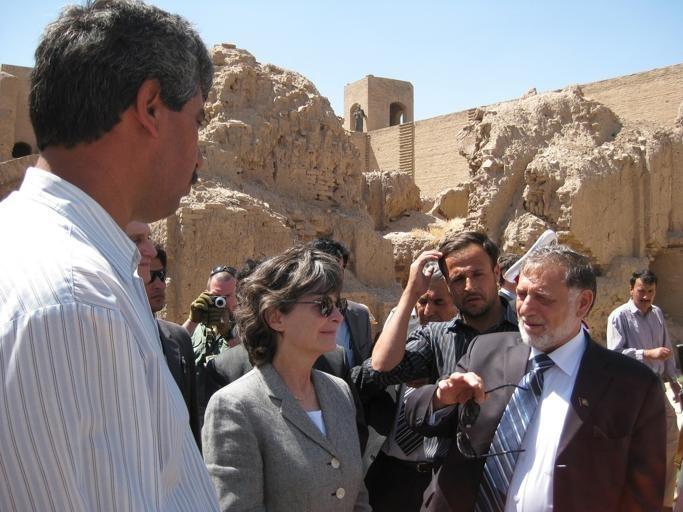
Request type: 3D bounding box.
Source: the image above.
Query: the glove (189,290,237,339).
[{"bbox_3d":[-0.821,0.384,5.915,0.265,0.303,0.121,5,17,2],"label":"glove"}]

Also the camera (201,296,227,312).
[{"bbox_3d":[-0.800,0.329,5.868,0.108,0.084,0.082,2,-4,-3],"label":"camera"}]
